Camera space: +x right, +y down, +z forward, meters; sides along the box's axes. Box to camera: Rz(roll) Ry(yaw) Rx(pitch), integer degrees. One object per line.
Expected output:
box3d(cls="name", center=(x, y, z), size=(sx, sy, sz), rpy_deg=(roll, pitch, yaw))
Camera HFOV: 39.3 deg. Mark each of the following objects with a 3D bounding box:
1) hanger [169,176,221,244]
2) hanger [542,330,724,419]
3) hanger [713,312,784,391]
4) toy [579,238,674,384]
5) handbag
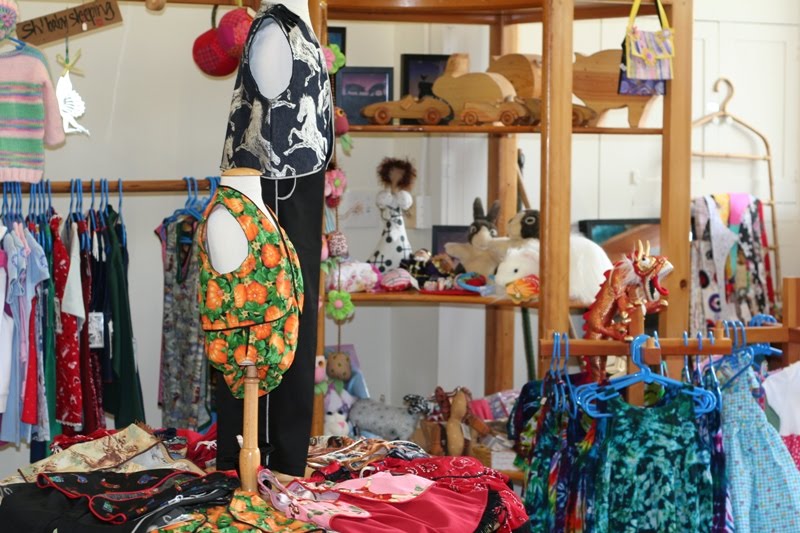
box3d(cls="hanger", center=(-0.999, -0.304, 5.505), size=(0.262, 0.426, 0.160), rpy_deg=(-3, 8, -36))
box3d(cls="hanger", center=(0.941, 0.413, 4.463), size=(0.739, 0.330, 0.315), rpy_deg=(-2, -3, 16))
box3d(cls="hanger", center=(1.403, 0.334, 4.535), size=(0.443, 0.286, 0.224), rpy_deg=(1, -3, -40))
box3d(cls="toy", center=(0.932, 0.195, 4.683), size=(0.328, 0.624, 0.264), rpy_deg=(2, 1, 31))
box3d(cls="handbag", center=(1.089, -0.958, 5.000), size=(0.234, 0.380, 0.164), rpy_deg=(-1, 4, 1))
